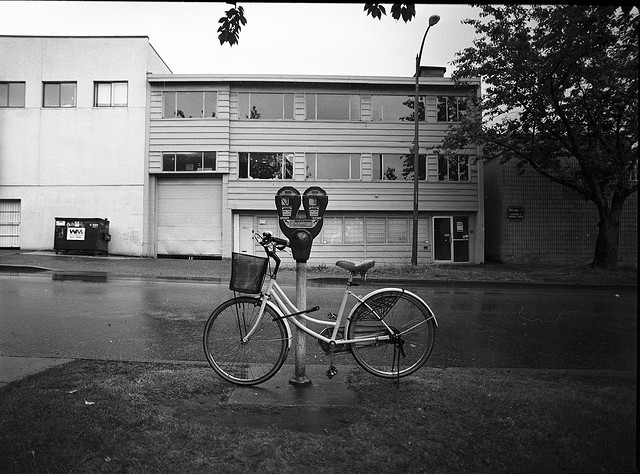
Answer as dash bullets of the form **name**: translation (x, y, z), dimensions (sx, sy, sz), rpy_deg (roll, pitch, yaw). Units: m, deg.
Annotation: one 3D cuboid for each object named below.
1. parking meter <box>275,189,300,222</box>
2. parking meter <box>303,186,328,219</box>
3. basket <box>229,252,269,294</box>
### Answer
- **parking meter**: translation (-0.517, -0.504, 11.330), dimensions (0.449, 0.679, 0.442), rpy_deg (0, 0, -3)
- **parking meter**: translation (-0.075, -0.541, 11.182), dimensions (0.382, 0.498, 0.216), rpy_deg (0, 7, -4)
- **basket**: translation (-1.135, 0.484, 11.413), dimensions (0.645, 0.763, 0.565), rpy_deg (6, 25, -9)
